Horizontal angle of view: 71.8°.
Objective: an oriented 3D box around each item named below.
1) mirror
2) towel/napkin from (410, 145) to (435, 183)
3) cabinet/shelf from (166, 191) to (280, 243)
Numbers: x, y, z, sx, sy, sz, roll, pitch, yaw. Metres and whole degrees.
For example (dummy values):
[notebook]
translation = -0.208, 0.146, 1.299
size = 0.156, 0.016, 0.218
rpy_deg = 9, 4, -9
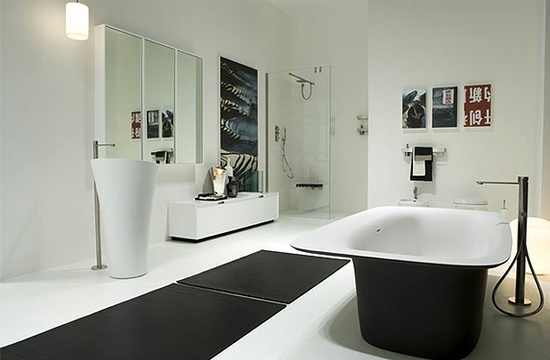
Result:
[mirror]
translation = -1.662, -1.098, 4.905
size = 0.160, 2.140, 2.188
rpy_deg = -1, -2, 30
[towel/napkin]
translation = 2.260, -0.232, 5.779
size = 0.336, 0.545, 0.193
rpy_deg = 4, 12, 18
[cabinet/shelf]
translation = -0.736, 0.543, 5.810
size = 1.801, 0.649, 0.469
rpy_deg = -10, 15, -43
